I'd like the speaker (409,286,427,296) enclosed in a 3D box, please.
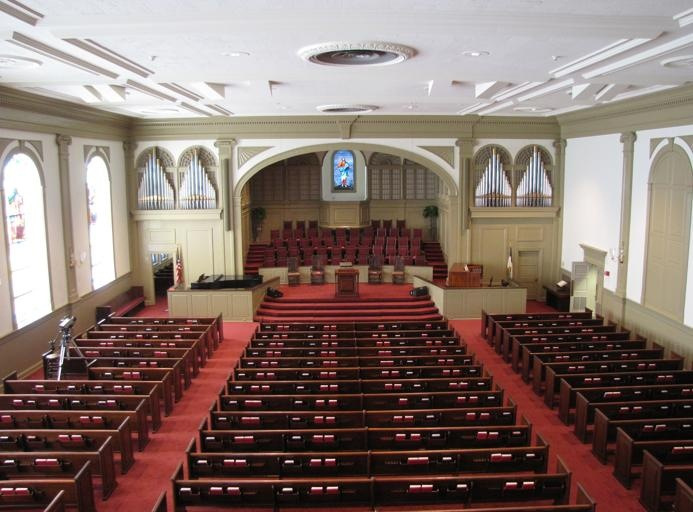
[{"bbox_3d":[2.947,1.417,19.979,0.646,0.354,0.412,-1,8,-10],"label":"speaker"}]
